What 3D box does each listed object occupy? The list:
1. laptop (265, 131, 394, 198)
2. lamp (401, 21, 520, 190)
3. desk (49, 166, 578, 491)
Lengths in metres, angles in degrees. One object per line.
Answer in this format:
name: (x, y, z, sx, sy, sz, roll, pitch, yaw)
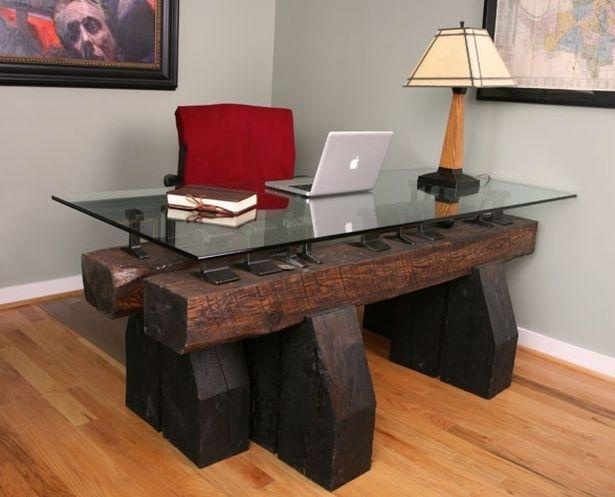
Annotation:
laptop: (0.088, -0.383, 2.056, 0.425, 0.278, 0.408, 17, 23, 38)
lamp: (0.757, -0.719, 2.392, 0.533, 0.763, 0.386, -14, 24, -32)
desk: (0.064, 0.233, 1.953, 1.613, 0.956, 0.888, -15, 25, -35)
